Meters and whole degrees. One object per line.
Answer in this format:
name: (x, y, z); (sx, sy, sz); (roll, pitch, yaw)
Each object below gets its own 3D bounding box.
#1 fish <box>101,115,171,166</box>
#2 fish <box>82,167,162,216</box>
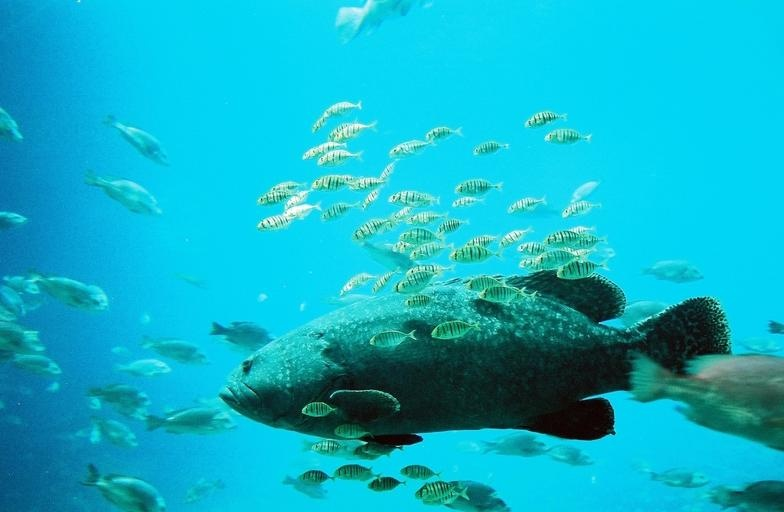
fish: (-12.814, -5.893, 40.073); (1.072, 1.587, 4.441); (-21, -26, 16)
fish: (-13.202, -3.283, 39.933); (5.218, 1.653, 1.328); (21, 41, 18)
